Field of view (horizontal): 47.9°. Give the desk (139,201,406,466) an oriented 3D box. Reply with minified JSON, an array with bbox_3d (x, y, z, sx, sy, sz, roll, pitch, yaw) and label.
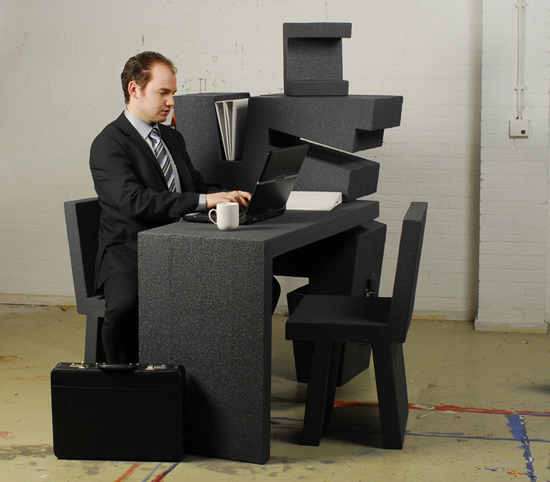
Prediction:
[{"bbox_3d":[-0.139,0.342,2.397,0.492,0.838,0.538,5,13,27],"label":"desk"}]

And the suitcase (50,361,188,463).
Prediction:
[{"bbox_3d":[-0.546,0.607,2.196,0.506,0.291,0.151,1,9,4],"label":"suitcase"}]

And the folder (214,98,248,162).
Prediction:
[{"bbox_3d":[-0.227,-0.558,3.088,0.145,0.268,0.345,0,12,16],"label":"folder"}]

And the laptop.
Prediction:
[{"bbox_3d":[-0.069,-0.222,2.388,0.447,0.242,0.409,5,10,19],"label":"laptop"}]

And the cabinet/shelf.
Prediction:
[{"bbox_3d":[0.147,-0.663,3.118,1.129,0.742,0.592,9,28,33],"label":"cabinet/shelf"}]
